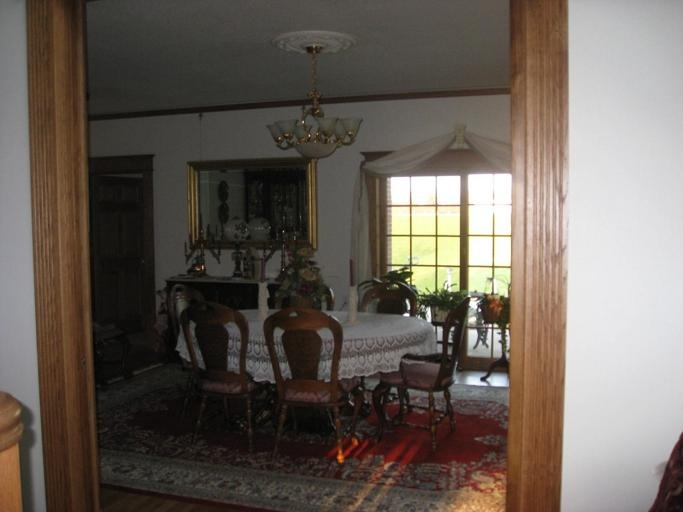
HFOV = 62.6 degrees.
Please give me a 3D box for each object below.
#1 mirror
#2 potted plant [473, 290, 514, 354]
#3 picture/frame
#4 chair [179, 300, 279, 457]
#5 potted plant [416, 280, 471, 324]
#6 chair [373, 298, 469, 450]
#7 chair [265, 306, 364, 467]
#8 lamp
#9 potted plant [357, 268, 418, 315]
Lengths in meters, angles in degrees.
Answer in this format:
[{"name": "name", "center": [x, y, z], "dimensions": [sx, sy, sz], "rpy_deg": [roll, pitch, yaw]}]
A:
[{"name": "mirror", "center": [-1.047, -0.651, 6.903], "dimensions": [1.164, 0.857, 0.061], "rpy_deg": [0, 3, 14]}, {"name": "potted plant", "center": [1.553, 0.659, 5.693], "dimensions": [0.493, 0.794, 0.474], "rpy_deg": [0, 1, 20]}, {"name": "picture/frame", "center": [-1.032, -0.663, 6.903], "dimensions": [1.158, 0.803, 0.061], "rpy_deg": [0, 3, 14]}, {"name": "chair", "center": [-0.837, 0.799, 4.204], "dimensions": [0.573, 1.005, 0.677], "rpy_deg": [2, 6, 21]}, {"name": "potted plant", "center": [1.048, 0.479, 5.989], "dimensions": [0.388, 0.302, 0.406], "rpy_deg": [0, 3, 11]}, {"name": "chair", "center": [0.576, 0.848, 4.297], "dimensions": [0.608, 1.063, 0.573], "rpy_deg": [4, 3, 27]}, {"name": "chair", "center": [-0.205, 0.847, 3.934], "dimensions": [0.626, 1.053, 0.684], "rpy_deg": [2, 6, 25]}, {"name": "lamp", "center": [-0.240, -1.331, 4.819], "dimensions": [0.899, 1.187, 0.918], "rpy_deg": [0, -3, 4]}, {"name": "potted plant", "center": [0.411, 0.372, 5.380], "dimensions": [0.457, 0.744, 0.498], "rpy_deg": [-1, -3, 19]}]
